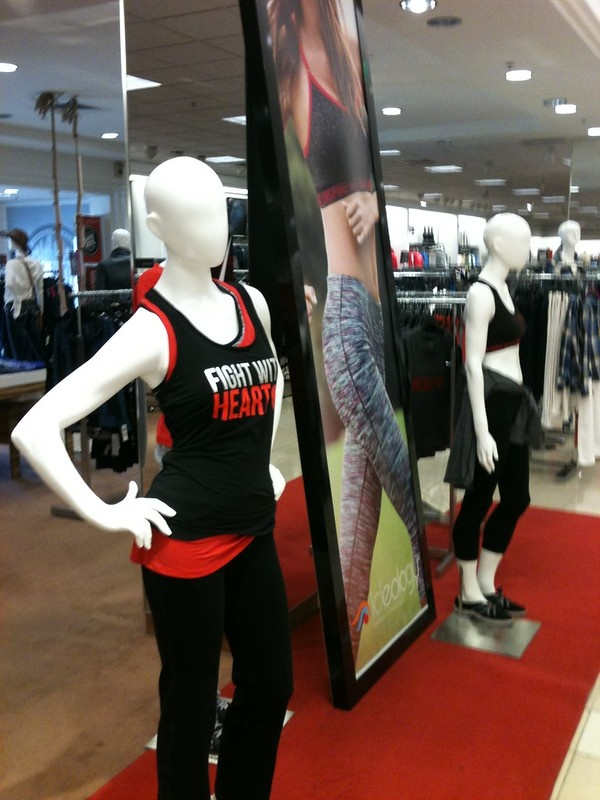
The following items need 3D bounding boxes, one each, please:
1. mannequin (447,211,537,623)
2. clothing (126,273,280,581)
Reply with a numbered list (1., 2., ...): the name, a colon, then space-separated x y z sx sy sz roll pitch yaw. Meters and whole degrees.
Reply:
1. mannequin: 0.849 0.093 2.503 0.413 1.807 0.302 0 1 -27
2. clothing: -0.145 0.034 0.973 0.172 0.508 0.274 1 1 40
